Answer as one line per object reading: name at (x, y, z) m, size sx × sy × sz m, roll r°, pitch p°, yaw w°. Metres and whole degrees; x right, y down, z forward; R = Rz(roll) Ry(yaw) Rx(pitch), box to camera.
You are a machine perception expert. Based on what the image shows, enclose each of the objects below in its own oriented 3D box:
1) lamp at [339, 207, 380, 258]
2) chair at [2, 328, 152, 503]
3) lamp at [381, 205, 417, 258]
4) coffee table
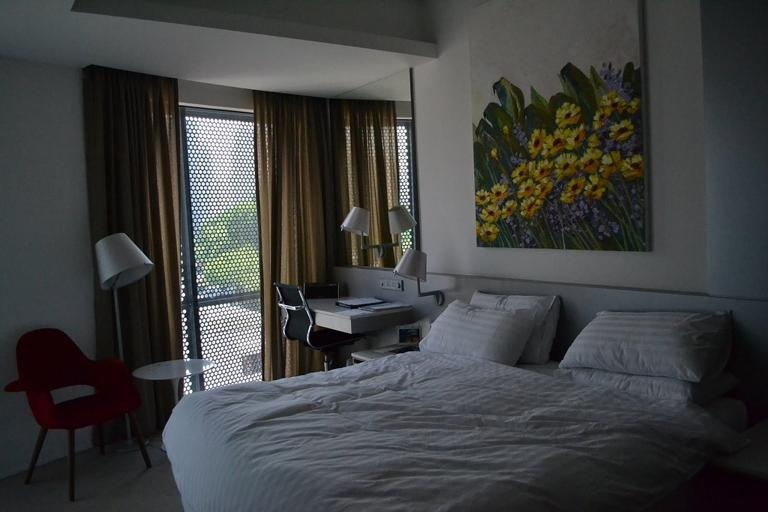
lamp at (-0.249, -0.262, 5.522) m, size 0.267 × 0.348 × 0.473 m, roll 3°, pitch -14°, yaw 36°
chair at (-2.450, 1.201, 4.382) m, size 0.940 × 1.122 × 0.777 m, roll 8°, pitch 18°, yaw 38°
lamp at (0.131, -0.211, 5.279) m, size 0.351 × 0.558 × 0.330 m, roll 0°, pitch 15°, yaw 15°
coffee table at (-1.731, 1.216, 4.779) m, size 0.684 × 0.765 × 0.736 m, roll 0°, pitch 9°, yaw 8°
